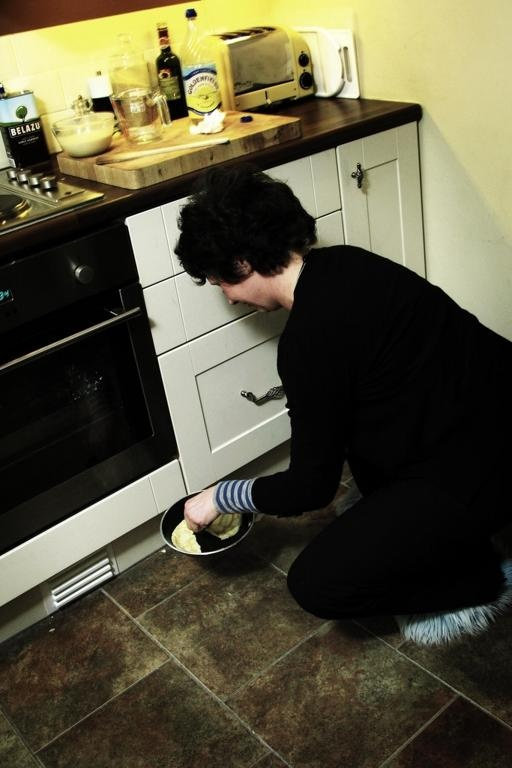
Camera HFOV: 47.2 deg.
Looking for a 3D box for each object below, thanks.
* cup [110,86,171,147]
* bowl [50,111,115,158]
[{"bbox_3d":[-0.277,-0.675,1.464,0.114,0.120,0.166,-27,40,-34],"label":"cup"},{"bbox_3d":[-0.414,-0.593,1.392,0.125,0.057,0.105,3,21,28],"label":"bowl"}]
